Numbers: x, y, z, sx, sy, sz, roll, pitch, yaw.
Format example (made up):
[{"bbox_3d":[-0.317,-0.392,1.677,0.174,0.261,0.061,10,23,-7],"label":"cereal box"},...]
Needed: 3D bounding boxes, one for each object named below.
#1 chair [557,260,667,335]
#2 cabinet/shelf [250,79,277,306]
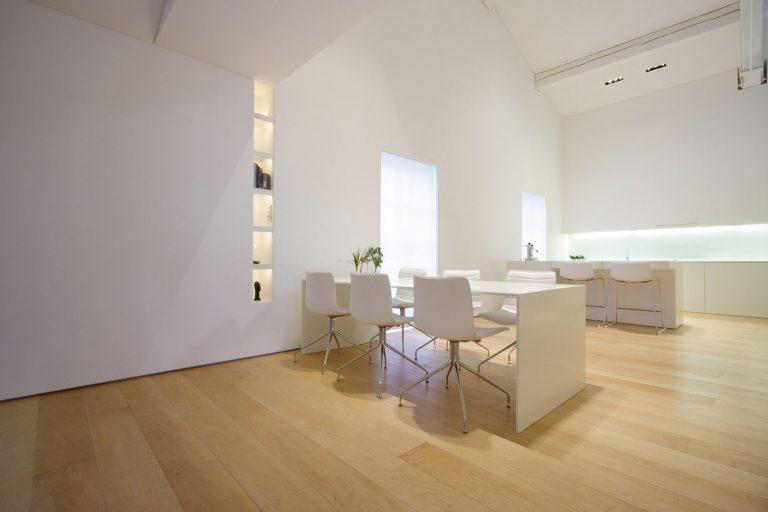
[{"bbox_3d":[3.240,0.586,6.498,0.347,0.654,0.952,-7,4,-35],"label":"chair"},{"bbox_3d":[-1.458,-0.767,5.654,0.260,2.602,0.344,0,0,-13],"label":"cabinet/shelf"}]
